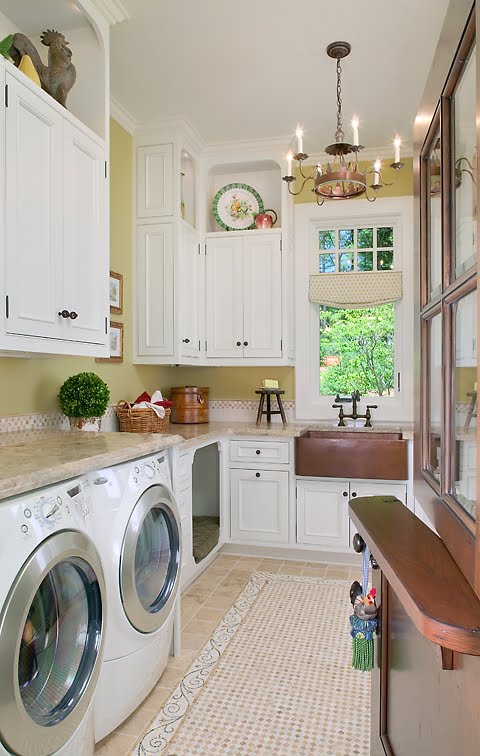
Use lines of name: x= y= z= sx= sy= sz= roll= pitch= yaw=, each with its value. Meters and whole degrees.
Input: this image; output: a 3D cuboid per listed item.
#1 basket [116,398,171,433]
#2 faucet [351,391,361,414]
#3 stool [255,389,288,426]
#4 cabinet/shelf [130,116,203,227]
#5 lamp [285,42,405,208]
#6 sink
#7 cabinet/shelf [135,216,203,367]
basket: x=-0.524 y=0.227 z=2.908 sx=0.295 sy=0.172 sz=0.350 roll=0 pitch=-1 yaw=-18
faucet: x=0.818 y=0.183 z=3.705 sx=0.058 sy=0.163 sz=0.236 roll=0 pitch=-1 yaw=13
stool: x=0.218 y=0.205 z=3.778 sx=0.203 sy=0.265 sz=0.380 roll=0 pitch=-1 yaw=2
cabinet/shelf: x=-0.435 y=-1.137 z=3.621 sx=0.385 sy=0.889 sz=0.816 roll=0 pitch=2 yaw=8
lamp: x=0.491 y=-1.256 z=2.562 sx=0.443 sy=0.668 sz=0.496 roll=-13 pitch=34 yaw=-7
sink: x=0.667 y=0.495 z=3.174 sx=0.668 sy=0.261 sz=0.079 roll=-1 pitch=-1 yaw=12
cabinet/shelf: x=-0.411 y=-0.544 z=3.454 sx=0.283 sy=0.914 sz=0.555 roll=-1 pitch=-1 yaw=40
